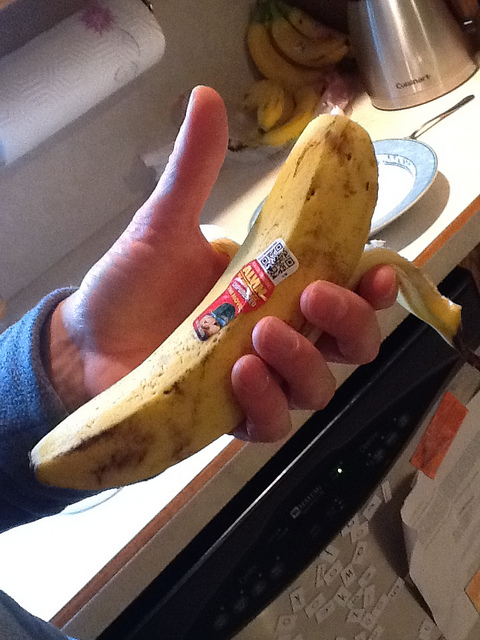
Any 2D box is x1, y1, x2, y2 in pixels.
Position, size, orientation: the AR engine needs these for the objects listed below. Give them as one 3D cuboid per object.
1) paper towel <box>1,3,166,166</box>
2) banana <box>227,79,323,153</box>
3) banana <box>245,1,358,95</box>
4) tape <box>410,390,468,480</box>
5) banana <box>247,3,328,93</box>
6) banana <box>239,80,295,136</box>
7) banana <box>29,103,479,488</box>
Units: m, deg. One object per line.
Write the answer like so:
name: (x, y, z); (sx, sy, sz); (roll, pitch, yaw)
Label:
paper towel: (-0.218, -0.297, 0.855); (0.182, 0.198, 0.236); (13, 36, 30)
banana: (0.065, -0.320, 1.035); (0.105, 0.136, 0.034); (3, 71, -40)
banana: (0.084, -0.423, 0.989); (0.137, 0.130, 0.044); (-5, 47, 9)
tape: (0.226, 0.133, 0.719); (0.007, 0.093, 0.050); (20, 14, -19)
banana: (0.061, -0.401, 0.962); (0.122, 0.112, 0.156); (-29, 36, -30)
banana: (0.041, -0.340, 1.007); (0.087, 0.088, 0.024); (12, 12, 40)
banana: (0.002, -0.004, 0.496); (0.370, 0.219, 0.134); (-23, 46, -14)
